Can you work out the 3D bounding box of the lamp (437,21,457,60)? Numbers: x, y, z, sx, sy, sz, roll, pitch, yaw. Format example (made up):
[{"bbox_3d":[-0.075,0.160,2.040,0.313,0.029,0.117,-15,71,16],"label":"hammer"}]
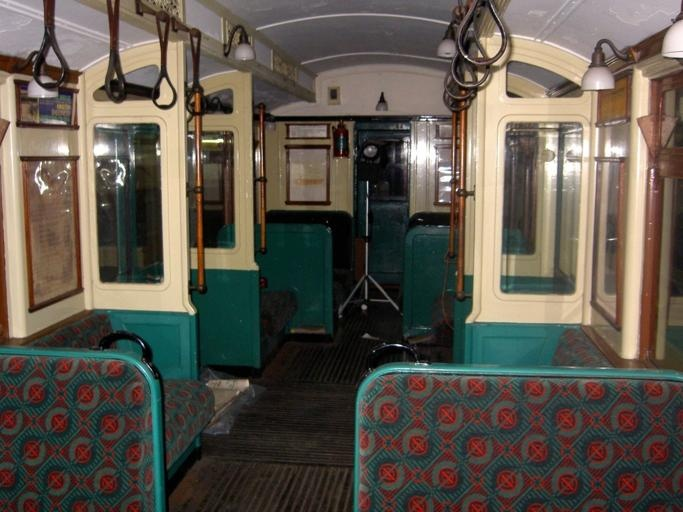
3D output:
[{"bbox_3d":[0.868,-1.778,4.440,0.141,0.305,0.632,2,10,11],"label":"lamp"}]

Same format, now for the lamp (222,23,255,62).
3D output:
[{"bbox_3d":[-0.892,-1.885,4.741,0.267,0.256,0.160,8,33,6],"label":"lamp"}]

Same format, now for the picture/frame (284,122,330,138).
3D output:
[{"bbox_3d":[-0.543,-2.031,8.783,0.696,0.252,0.125,3,9,10],"label":"picture/frame"}]

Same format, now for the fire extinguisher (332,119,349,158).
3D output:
[{"bbox_3d":[0.005,-1.878,8.695,0.264,0.571,0.191,1,9,-1],"label":"fire extinguisher"}]

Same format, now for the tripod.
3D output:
[{"bbox_3d":[0.469,-0.180,8.613,0.837,2.032,1.621,2,9,5],"label":"tripod"}]

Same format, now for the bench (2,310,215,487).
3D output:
[{"bbox_3d":[-1.512,0.976,3.833,0.937,1.317,1.690,1,8,-1],"label":"bench"}]

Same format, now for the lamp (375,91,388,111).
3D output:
[{"bbox_3d":[0.643,-2.447,8.509,0.231,0.340,0.241,6,11,30],"label":"lamp"}]

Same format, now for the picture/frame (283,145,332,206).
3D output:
[{"bbox_3d":[-0.551,-1.369,8.846,0.898,1.172,0.114,0,5,1],"label":"picture/frame"}]
